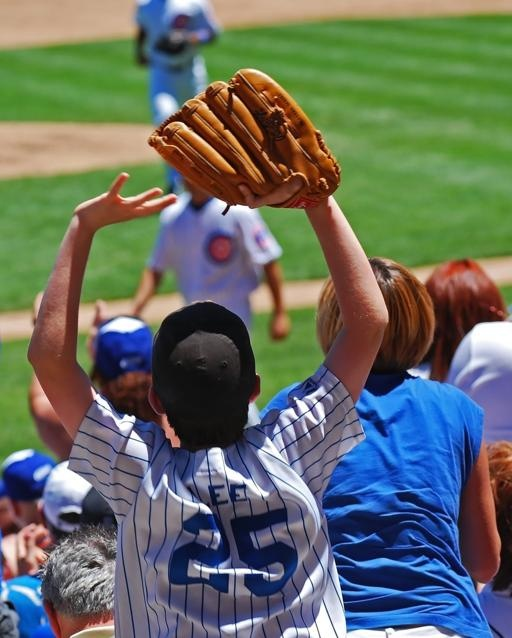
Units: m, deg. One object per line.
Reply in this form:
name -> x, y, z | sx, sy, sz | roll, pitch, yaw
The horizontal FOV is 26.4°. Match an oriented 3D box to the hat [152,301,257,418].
hat -> -0.109, 0.088, 2.276 | 0.198, 0.216, 0.152 | -3, 14, -2

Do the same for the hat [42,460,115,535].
hat -> -0.594, 0.541, 3.500 | 0.252, 0.116, 0.149 | -9, -7, 4

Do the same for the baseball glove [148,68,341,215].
baseball glove -> 0.014, -0.349, 2.346 | 0.429, 0.319, 0.174 | 12, 5, 39
